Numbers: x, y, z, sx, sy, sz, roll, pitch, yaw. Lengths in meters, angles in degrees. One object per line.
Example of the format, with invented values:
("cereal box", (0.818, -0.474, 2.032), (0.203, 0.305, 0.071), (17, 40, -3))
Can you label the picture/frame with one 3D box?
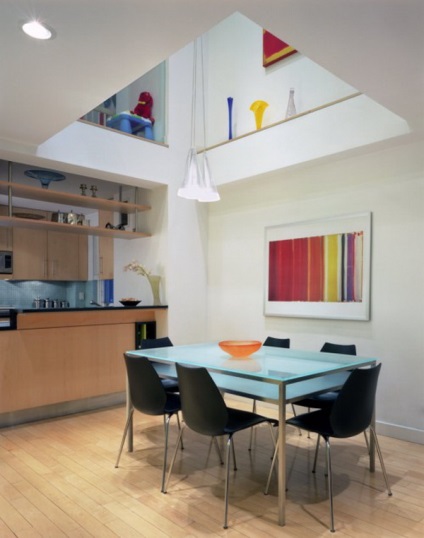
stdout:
("picture/frame", (0.994, 0.001, 4.328), (1.225, 0.907, 0.041), (-3, 5, -22))

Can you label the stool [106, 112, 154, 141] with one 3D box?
("stool", (-0.854, -1.514, 4.799), (0.295, 0.225, 0.297), (6, 3, 41))

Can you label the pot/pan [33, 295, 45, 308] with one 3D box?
("pot/pan", (-2.778, 0.529, 7.331), (0.179, 0.157, 0.464), (1, -3, -21))

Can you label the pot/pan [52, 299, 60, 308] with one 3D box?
("pot/pan", (-2.525, 0.558, 7.350), (0.113, 0.126, 0.114), (1, 2, 21))

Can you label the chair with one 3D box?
("chair", (0.235, 0.911, 2.810), (1.436, 0.756, 1.063), (-3, -4, 41))

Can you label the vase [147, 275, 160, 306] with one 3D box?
("vase", (-0.638, 0.237, 5.055), (0.156, 0.338, 0.289), (0, -3, -6))
